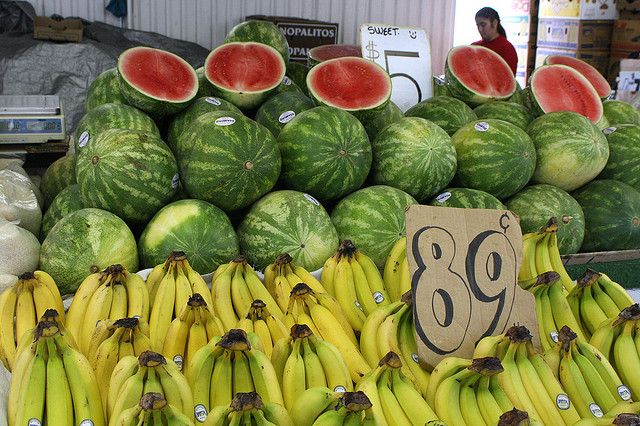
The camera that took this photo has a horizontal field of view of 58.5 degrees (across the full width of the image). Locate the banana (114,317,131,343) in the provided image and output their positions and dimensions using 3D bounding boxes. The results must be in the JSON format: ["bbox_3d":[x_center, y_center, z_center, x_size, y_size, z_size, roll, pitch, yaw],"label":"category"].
[{"bbox_3d":[-0.840,0.481,2.430,0.036,0.144,0.045,10,16,-14],"label":"banana"}]

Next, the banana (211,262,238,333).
[{"bbox_3d":[-0.454,0.417,2.763,0.090,0.361,0.113,11,-21,-34],"label":"banana"}]

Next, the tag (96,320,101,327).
[{"bbox_3d":[-0.992,0.501,2.568,0.019,0.020,0.030,-3,4,-1],"label":"tag"}]

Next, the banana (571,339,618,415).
[{"bbox_3d":[1.204,0.742,2.524,0.062,0.295,0.101,-22,-11,-1],"label":"banana"}]

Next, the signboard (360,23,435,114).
[{"bbox_3d":[0.599,-1.153,4.463,0.619,0.963,0.026,3,-36,0],"label":"signboard"}]

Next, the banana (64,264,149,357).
[{"bbox_3d":[-0.904,0.484,2.641,0.214,0.407,0.133,-9,-26,-26],"label":"banana"}]

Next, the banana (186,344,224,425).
[{"bbox_3d":[-0.488,0.682,2.385,0.100,0.419,0.134,5,1,-25],"label":"banana"}]

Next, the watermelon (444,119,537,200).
[{"bbox_3d":[1.154,-0.349,3.864,0.576,0.512,0.517,-3,31,37],"label":"watermelon"}]

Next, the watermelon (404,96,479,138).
[{"bbox_3d":[0.901,-0.714,4.102,0.410,0.286,0.293,-1,15,6],"label":"watermelon"}]

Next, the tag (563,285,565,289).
[{"bbox_3d":[1.269,0.393,2.984,0.013,0.011,0.017,2,6,-18],"label":"tag"}]

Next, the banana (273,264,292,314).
[{"bbox_3d":[-0.196,0.391,2.837,0.068,0.290,0.095,4,-17,-19],"label":"banana"}]

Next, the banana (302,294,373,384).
[{"bbox_3d":[0.067,0.586,2.578,0.076,0.372,0.112,-31,1,-24],"label":"banana"}]

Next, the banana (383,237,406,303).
[{"bbox_3d":[0.411,0.296,3.062,0.088,0.376,0.118,26,-25,-36],"label":"banana"}]

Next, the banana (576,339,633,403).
[{"bbox_3d":[1.267,0.721,2.551,0.065,0.263,0.090,-27,-2,-2],"label":"banana"}]

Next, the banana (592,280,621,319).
[{"bbox_3d":[1.452,0.449,2.942,0.091,0.199,0.299,-24,-19,23],"label":"banana"}]

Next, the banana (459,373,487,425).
[{"bbox_3d":[0.622,0.807,2.389,0.068,0.274,0.087,12,-25,-36],"label":"banana"}]

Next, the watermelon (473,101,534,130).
[{"bbox_3d":[1.346,-0.708,4.236,0.360,0.242,0.230,12,21,1],"label":"watermelon"}]

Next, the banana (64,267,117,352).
[{"bbox_3d":[-1.138,0.404,2.778,0.495,0.187,0.122,-28,-17,38],"label":"banana"}]

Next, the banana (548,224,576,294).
[{"bbox_3d":[1.343,0.262,3.193,0.065,0.373,0.118,-7,-2,-25],"label":"banana"}]

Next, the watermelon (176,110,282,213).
[{"bbox_3d":[-0.587,-0.368,3.643,0.626,0.696,0.836,-4,13,-10],"label":"watermelon"}]

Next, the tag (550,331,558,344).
[{"bbox_3d":[1.117,0.603,2.760,0.035,0.046,0.025,-18,-19,-46],"label":"tag"}]

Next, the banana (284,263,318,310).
[{"bbox_3d":[-0.107,0.317,2.890,0.076,0.318,0.112,-20,-29,-22],"label":"banana"}]

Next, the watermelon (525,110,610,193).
[{"bbox_3d":[1.778,-0.446,3.988,0.439,0.462,0.550,-23,-11,-6],"label":"watermelon"}]

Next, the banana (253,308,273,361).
[{"bbox_3d":[-0.253,0.541,2.597,0.060,0.255,0.080,-10,-13,-6],"label":"banana"}]

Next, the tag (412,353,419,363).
[{"bbox_3d":[0.436,0.676,2.637,0.026,0.033,0.019,4,-55,-57],"label":"tag"}]

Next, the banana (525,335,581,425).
[{"bbox_3d":[1.009,0.747,2.476,0.077,0.355,0.114,-21,-12,-7],"label":"banana"}]

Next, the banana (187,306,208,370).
[{"bbox_3d":[-0.543,0.542,2.511,0.066,0.285,0.088,2,2,9],"label":"banana"}]

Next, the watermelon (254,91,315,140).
[{"bbox_3d":[-0.239,-0.620,3.847,0.346,0.302,0.283,9,-32,-17],"label":"watermelon"}]

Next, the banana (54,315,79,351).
[{"bbox_3d":[-1.079,0.515,2.426,0.048,0.195,0.064,-23,-8,-33],"label":"banana"}]

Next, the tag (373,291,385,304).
[{"bbox_3d":[0.293,0.432,2.896,0.048,0.042,0.039,5,-3,9],"label":"tag"}]

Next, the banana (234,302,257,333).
[{"bbox_3d":[-0.331,0.472,2.577,0.094,0.120,0.115,-1,3,8],"label":"banana"}]

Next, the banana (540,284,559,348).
[{"bbox_3d":[1.095,0.512,2.758,0.053,0.348,0.113,-2,0,-10],"label":"banana"}]

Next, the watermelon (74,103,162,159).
[{"bbox_3d":[-1.263,-0.498,3.645,0.311,0.366,0.440,-2,7,25],"label":"watermelon"}]

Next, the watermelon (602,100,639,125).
[{"bbox_3d":[2.351,-0.793,4.523,0.192,0.218,0.261,-3,10,-36],"label":"watermelon"}]

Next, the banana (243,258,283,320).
[{"bbox_3d":[-0.278,0.385,2.791,0.054,0.262,0.084,-19,-15,-33],"label":"banana"}]

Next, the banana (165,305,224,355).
[{"bbox_3d":[-0.554,0.501,2.570,0.255,0.177,0.113,-21,15,-12],"label":"banana"}]

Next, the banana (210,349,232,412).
[{"bbox_3d":[-0.401,0.691,2.330,0.087,0.282,0.071,4,7,-2],"label":"banana"}]
